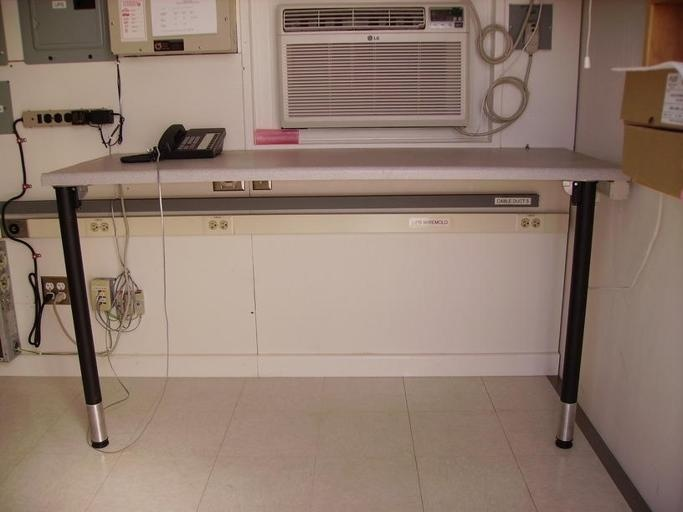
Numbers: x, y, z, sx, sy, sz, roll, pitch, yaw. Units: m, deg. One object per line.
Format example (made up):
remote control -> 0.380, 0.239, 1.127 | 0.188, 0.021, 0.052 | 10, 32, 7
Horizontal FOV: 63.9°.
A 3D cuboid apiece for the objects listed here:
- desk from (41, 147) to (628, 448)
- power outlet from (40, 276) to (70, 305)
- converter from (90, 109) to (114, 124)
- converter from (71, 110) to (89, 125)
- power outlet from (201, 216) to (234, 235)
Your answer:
desk -> -0.053, 0.089, 2.892 | 2.514, 1.460, 0.975 | 1, 26, -7
power outlet -> -1.513, 0.170, 2.898 | 0.167, 0.178, 0.043 | 4, 8, 1
converter -> -1.179, -0.690, 2.710 | 0.087, 0.048, 0.067 | 1, 26, -4
converter -> -1.303, -0.694, 2.733 | 0.080, 0.063, 0.037 | -6, 22, -14
power outlet -> -0.621, -0.157, 2.782 | 0.139, 0.101, 0.083 | -1, 10, -1
